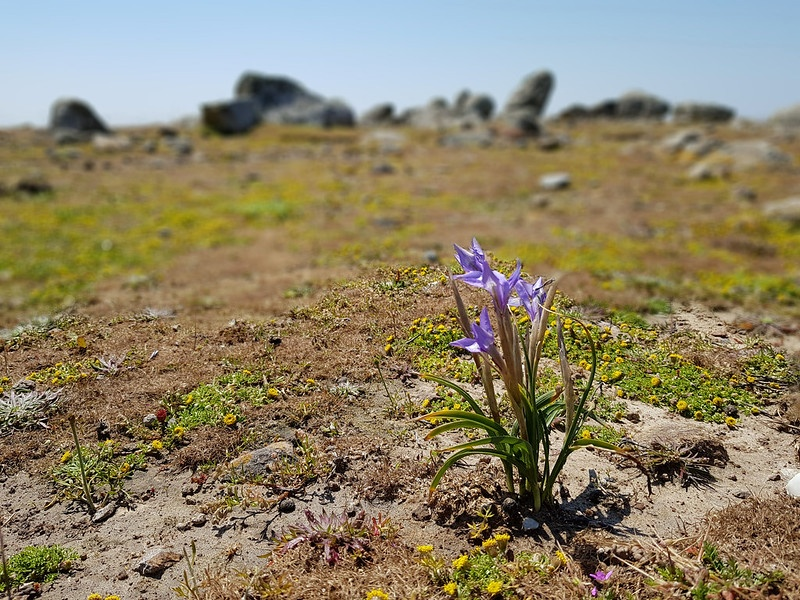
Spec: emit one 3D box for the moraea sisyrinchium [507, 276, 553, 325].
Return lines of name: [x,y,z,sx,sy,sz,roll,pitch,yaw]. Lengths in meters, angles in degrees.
moraea sisyrinchium: [0.875,-0.032,5.420,0.294,0.304,0.155,10,54,-20]

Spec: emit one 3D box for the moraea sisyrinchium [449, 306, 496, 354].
moraea sisyrinchium: [0.509,0.219,5.231,0.248,0.348,0.392,3,19,14]

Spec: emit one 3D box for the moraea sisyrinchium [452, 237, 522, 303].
moraea sisyrinchium: [0.588,-0.203,5.256,0.430,0.450,0.252,0,19,6]
